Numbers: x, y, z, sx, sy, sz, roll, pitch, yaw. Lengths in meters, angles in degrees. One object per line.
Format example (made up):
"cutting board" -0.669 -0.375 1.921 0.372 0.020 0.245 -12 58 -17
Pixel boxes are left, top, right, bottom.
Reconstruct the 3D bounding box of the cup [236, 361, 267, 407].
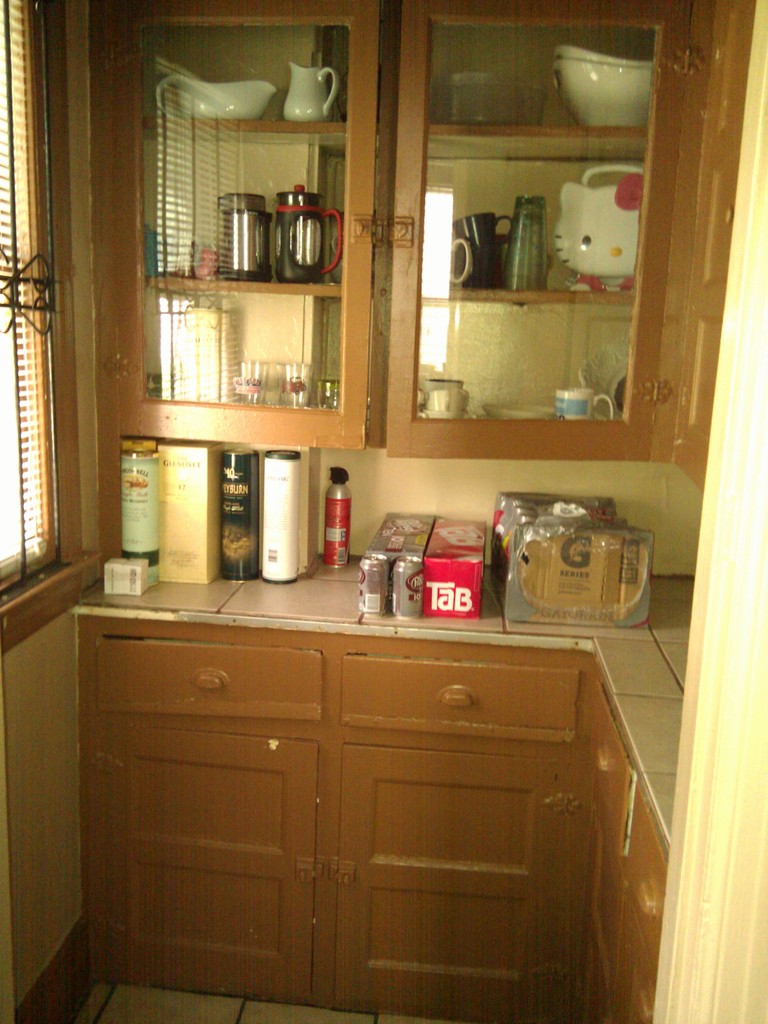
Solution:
"cup" -0.231 -0.226 1.531 0.043 0.110 0.059 4 21 6

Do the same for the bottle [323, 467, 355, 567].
"bottle" -0.089 0.006 1.803 0.068 0.202 0.074 1 11 0

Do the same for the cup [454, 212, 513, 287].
"cup" 0.160 -0.425 1.421 0.090 0.144 0.066 5 22 25

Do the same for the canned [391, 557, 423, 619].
"canned" 0.043 0.130 1.515 0.051 0.106 0.035 2 11 1

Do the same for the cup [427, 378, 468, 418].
"cup" 0.108 -0.205 1.525 0.038 0.071 0.078 3 15 13

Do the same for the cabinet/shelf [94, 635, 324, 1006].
"cabinet/shelf" -0.323 0.559 1.550 0.417 0.679 0.155 6 12 19

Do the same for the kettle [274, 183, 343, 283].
"kettle" -0.131 -0.466 1.447 0.110 0.200 0.093 -5 24 -16

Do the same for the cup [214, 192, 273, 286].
"cup" -0.223 -0.454 1.436 0.089 0.158 0.090 3 21 -1

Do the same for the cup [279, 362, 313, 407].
"cup" -0.152 -0.221 1.530 0.048 0.112 0.057 -5 23 -20

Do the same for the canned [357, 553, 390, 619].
"canned" -0.017 0.124 1.577 0.055 0.168 0.074 2 14 -4

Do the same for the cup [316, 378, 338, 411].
"cup" -0.098 -0.203 1.530 0.029 0.057 0.040 1 5 5
